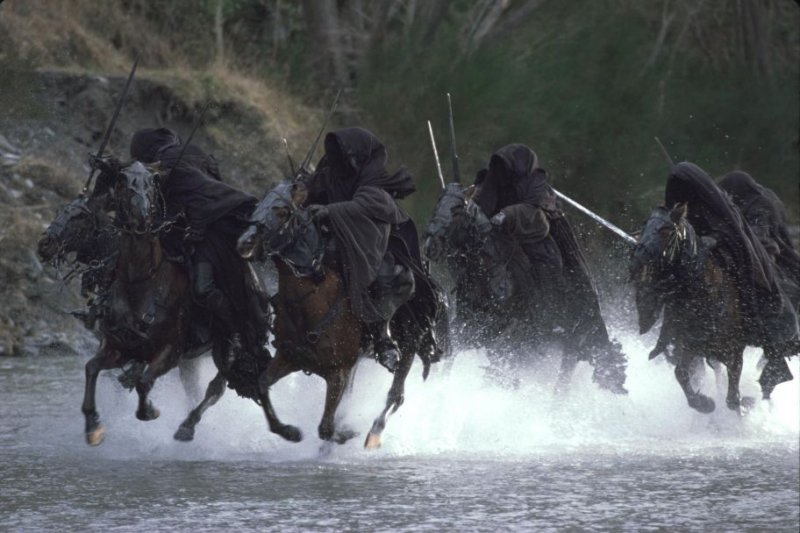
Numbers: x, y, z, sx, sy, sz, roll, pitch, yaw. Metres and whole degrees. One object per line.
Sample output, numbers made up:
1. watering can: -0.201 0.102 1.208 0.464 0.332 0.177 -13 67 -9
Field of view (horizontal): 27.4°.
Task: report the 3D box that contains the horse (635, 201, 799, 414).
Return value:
1. horse: 3.175 0.424 17.935 1.839 2.318 0.852 9 -10 -33
